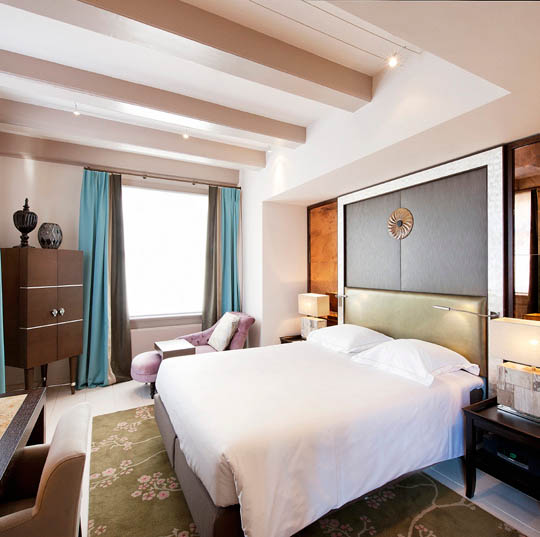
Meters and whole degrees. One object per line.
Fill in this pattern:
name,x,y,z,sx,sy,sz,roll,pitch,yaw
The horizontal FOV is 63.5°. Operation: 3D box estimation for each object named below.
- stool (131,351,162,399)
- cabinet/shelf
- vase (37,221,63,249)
stool,-1.231,1.031,4.408,0.350,0.387,0.385,4,3,23
cabinet/shelf,-2.229,0.422,4.292,0.393,1.272,0.733,0,5,25
vase,-2.185,-0.304,4.371,0.209,0.334,0.244,3,-1,-10
